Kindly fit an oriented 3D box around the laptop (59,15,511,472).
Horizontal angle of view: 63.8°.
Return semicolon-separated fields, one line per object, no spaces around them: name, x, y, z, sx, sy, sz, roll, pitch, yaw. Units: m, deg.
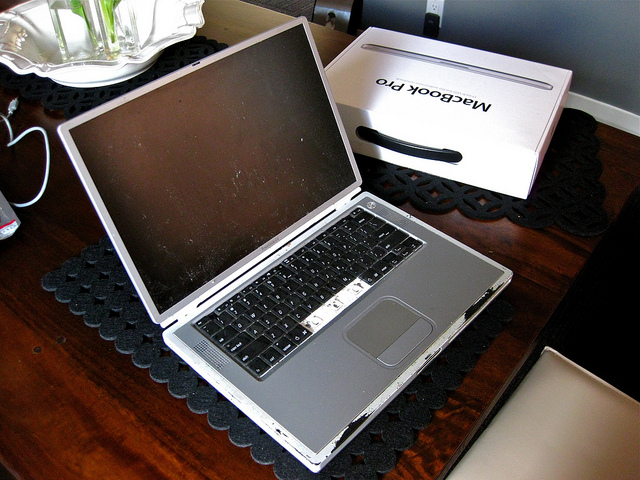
laptop;-0.031;-0.024;0.714;0.442;0.254;0.485;-37;60;-26
